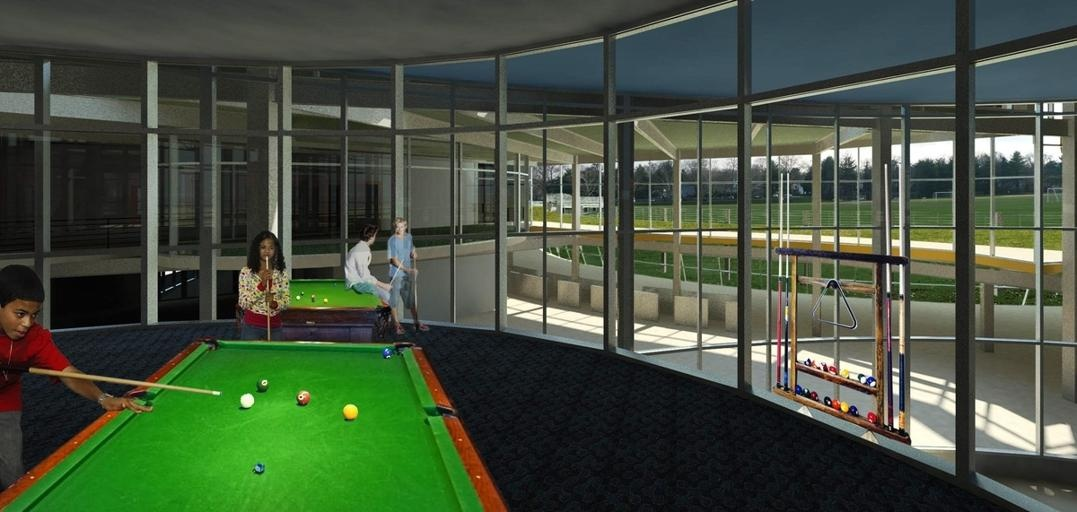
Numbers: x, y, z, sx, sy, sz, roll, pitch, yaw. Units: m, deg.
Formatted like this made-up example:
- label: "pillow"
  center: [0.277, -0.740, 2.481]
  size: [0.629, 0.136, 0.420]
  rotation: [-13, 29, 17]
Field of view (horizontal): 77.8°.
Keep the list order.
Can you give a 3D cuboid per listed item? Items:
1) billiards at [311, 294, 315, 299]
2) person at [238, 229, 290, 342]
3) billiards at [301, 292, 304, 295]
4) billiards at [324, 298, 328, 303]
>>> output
- label: "billiards"
  center: [-5.915, 1.058, 17.450]
  size: [0.072, 0.080, 0.026]
  rotation: [8, -37, -14]
- label: "person"
  center: [-6.849, 0.662, 16.628]
  size: [1.120, 2.825, 0.938]
  rotation: [-1, 4, -16]
- label: "billiards"
  center: [-6.249, 0.983, 17.621]
  size: [0.072, 0.032, 0.065]
  rotation: [19, 1, -5]
- label: "billiards"
  center: [-5.517, 1.160, 17.249]
  size: [0.113, 0.115, 0.103]
  rotation: [-24, 50, -22]
